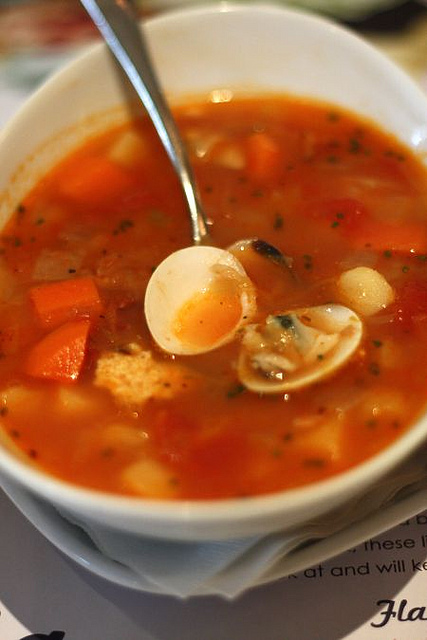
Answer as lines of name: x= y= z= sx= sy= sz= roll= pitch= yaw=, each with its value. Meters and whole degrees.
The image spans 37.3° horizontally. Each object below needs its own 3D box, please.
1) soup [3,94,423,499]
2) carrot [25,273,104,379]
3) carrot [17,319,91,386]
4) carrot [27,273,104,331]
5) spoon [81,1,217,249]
soup: x=0.000 y=-0.111 z=1.069 sx=0.752 sy=0.166 sz=0.890 roll=-8 pitch=43 yaw=10
carrot: x=-0.238 y=0.007 z=1.020 sx=0.127 sy=0.058 sz=0.207 roll=-15 pitch=42 yaw=3
carrot: x=-0.237 y=0.054 z=0.981 sx=0.134 sy=0.030 sz=0.086 roll=-28 pitch=78 yaw=-10
carrot: x=-0.243 y=-0.034 z=1.043 sx=0.132 sy=0.059 sz=0.084 roll=-17 pitch=74 yaw=-9
spoon: x=-0.131 y=-0.377 z=1.253 sx=0.108 sy=0.554 sz=0.085 roll=-19 pitch=10 yaw=7
